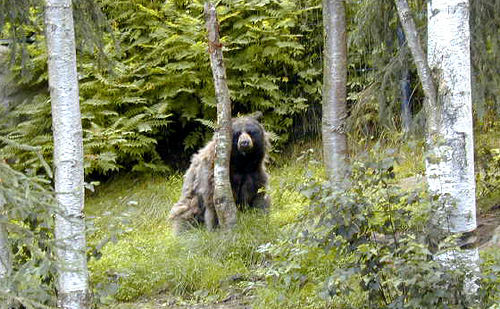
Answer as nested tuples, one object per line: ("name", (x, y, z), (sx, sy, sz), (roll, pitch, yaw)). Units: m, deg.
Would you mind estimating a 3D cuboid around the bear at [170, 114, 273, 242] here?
("bear", (-0.587, 0.396, 14.427), (1.974, 1.992, 1.715), (-5, 7, -3))
